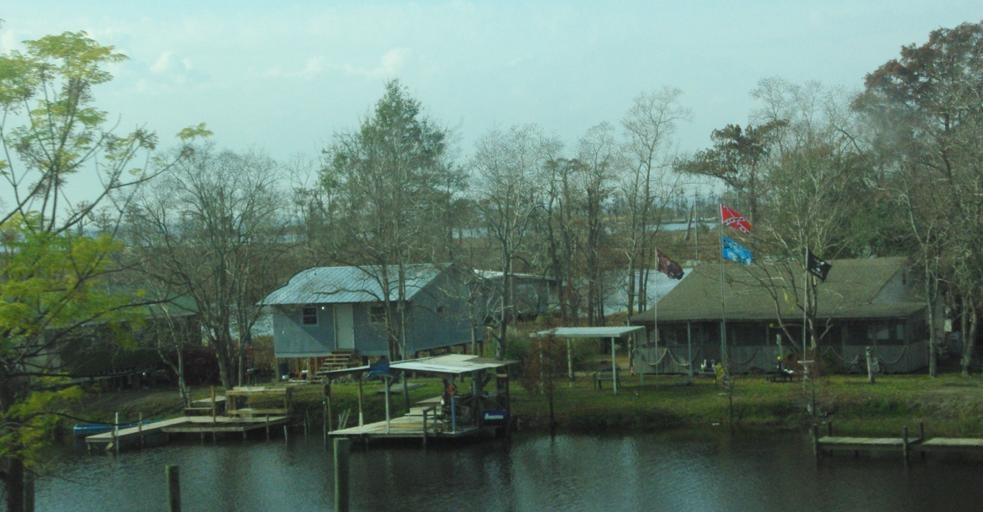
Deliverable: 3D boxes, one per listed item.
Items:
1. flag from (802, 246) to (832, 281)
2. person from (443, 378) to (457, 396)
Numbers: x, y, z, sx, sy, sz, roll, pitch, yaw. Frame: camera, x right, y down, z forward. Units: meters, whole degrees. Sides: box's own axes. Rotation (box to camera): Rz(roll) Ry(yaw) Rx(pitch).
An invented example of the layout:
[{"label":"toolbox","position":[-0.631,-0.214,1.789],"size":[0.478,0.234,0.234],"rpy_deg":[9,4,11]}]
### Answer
[{"label":"flag","position":[24.651,0.654,111.579],"size":[2.330,1.720,0.156],"rpy_deg":[29,2,-1]},{"label":"person","position":[-2.911,9.607,108.021],"size":[0.889,1.292,0.935],"rpy_deg":[-5,-6,-4]}]
